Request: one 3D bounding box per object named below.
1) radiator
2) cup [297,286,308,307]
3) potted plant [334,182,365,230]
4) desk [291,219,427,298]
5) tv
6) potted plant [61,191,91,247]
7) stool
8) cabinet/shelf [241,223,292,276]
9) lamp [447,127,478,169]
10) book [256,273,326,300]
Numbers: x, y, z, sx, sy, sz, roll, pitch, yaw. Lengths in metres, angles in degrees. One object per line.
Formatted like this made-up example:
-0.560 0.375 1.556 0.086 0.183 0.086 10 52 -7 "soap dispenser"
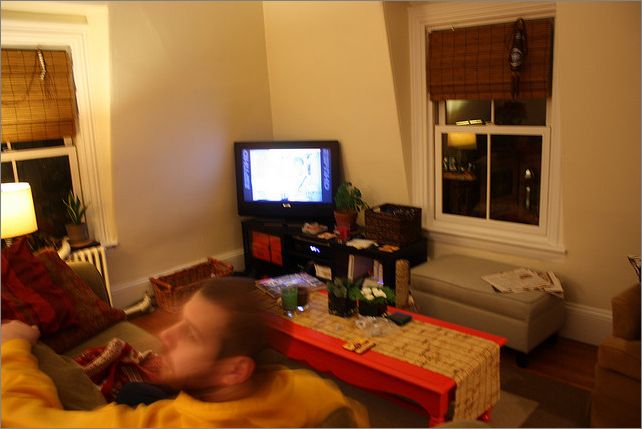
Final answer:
-2.188 0.650 4.463 0.748 0.759 0.180 -2 11 -17 "radiator"
-0.140 0.658 3.781 0.126 0.124 0.125 1 11 0 "cup"
0.271 -0.098 5.020 0.319 0.528 0.348 12 -2 1 "potted plant"
0.369 0.058 4.845 1.368 1.300 0.521 6 12 38 "desk"
-0.351 -0.342 5.207 1.023 0.771 0.177 3 19 11 "tv"
-2.387 0.053 4.545 0.243 0.493 0.285 -7 -1 38 "potted plant"
1.371 0.755 3.893 1.162 0.589 0.794 13 28 37 "stool"
-0.595 0.381 5.298 0.522 0.519 0.293 8 15 41 "cabinet/shelf"
1.403 -0.666 4.563 0.420 0.396 0.100 6 5 26 "lamp"
-0.230 0.605 3.949 0.313 0.043 0.281 -10 20 -37 "book"
